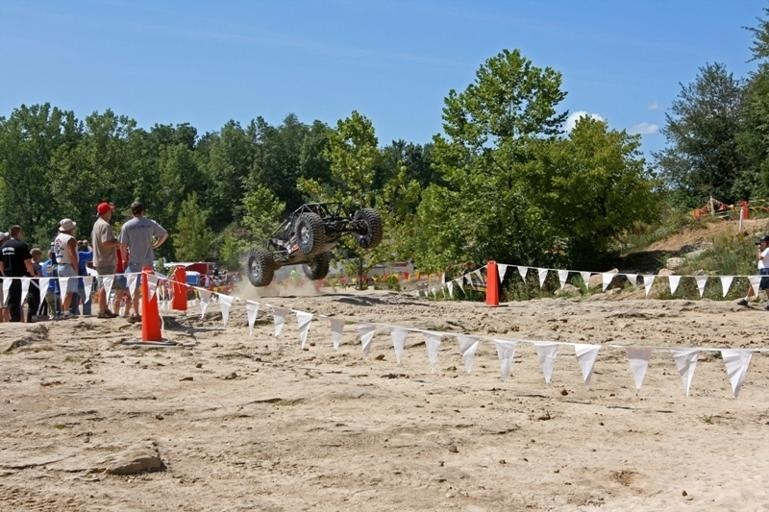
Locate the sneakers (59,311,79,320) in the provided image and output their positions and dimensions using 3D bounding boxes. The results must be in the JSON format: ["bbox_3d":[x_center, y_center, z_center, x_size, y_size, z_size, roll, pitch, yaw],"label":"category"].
[{"bbox_3d":[-7.348,1.418,22.763,0.543,0.238,0.187,-4,3,-17],"label":"sneakers"}]

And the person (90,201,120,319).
[{"bbox_3d":[-6.273,0.121,22.387,0.821,2.694,1.026,-1,-2,-35],"label":"person"}]

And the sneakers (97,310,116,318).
[{"bbox_3d":[-6.433,1.350,22.694,0.428,0.191,0.162,0,2,-10],"label":"sneakers"}]

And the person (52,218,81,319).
[{"bbox_3d":[-7.389,0.322,22.881,0.683,2.300,0.641,1,0,37],"label":"person"}]
